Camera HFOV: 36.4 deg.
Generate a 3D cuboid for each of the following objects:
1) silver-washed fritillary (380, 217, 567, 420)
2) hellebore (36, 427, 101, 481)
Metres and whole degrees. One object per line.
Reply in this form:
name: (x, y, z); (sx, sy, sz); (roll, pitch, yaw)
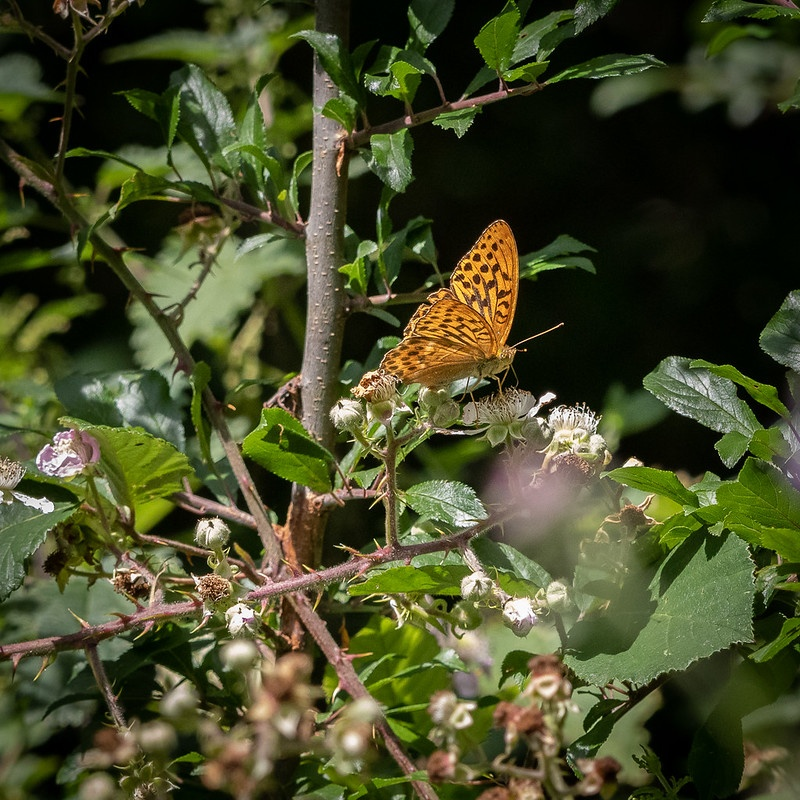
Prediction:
silver-washed fritillary: (0.115, -0.114, 2.227); (0.162, 0.360, 0.358); (19, 61, 11)
hellebore: (-0.547, 0.096, 2.025); (0.097, 0.101, 0.073); (-35, 66, -19)
